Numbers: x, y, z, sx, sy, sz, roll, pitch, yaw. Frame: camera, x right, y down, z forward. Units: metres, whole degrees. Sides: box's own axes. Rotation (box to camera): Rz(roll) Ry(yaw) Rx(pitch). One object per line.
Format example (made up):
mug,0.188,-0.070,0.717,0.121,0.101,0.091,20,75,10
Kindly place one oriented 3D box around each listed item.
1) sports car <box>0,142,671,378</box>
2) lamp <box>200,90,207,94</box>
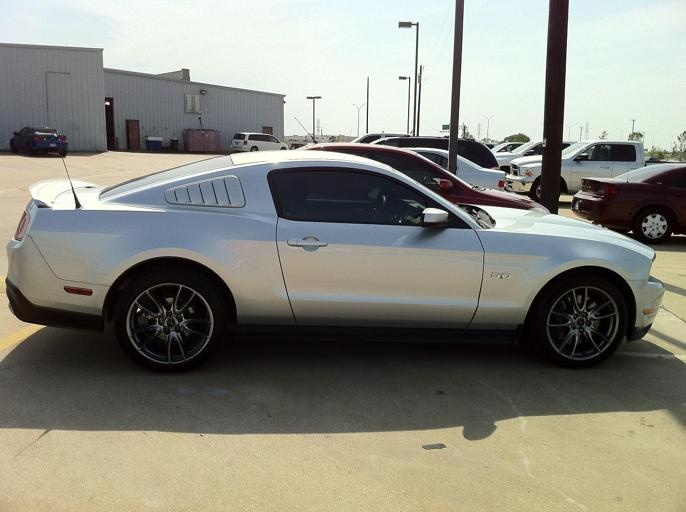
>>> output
sports car,0.007,0.035,5.062,5.685,1.578,2.302,-1,6,-5
lamp,-13.474,-15.785,47.803,0.144,0.513,0.664,10,14,35
